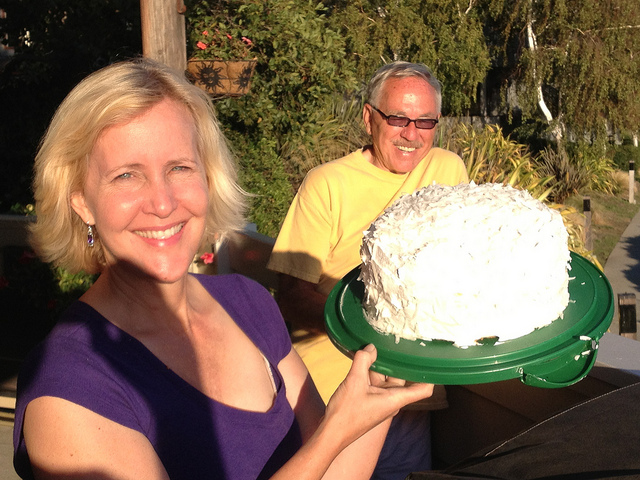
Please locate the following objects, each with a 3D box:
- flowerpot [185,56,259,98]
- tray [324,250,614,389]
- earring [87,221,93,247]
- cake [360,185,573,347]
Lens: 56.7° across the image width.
[{"bbox_3d":[-0.952,-1.576,5.781,0.659,0.387,0.275,-4,24,-19],"label":"flowerpot"},{"bbox_3d":[0.630,0.324,2.468,1.244,0.320,0.778,7,25,3],"label":"tray"},{"bbox_3d":[-0.870,-0.008,2.250,0.019,0.093,0.019,1,21,-5],"label":"earring"},{"bbox_3d":[0.617,0.112,2.654,0.626,0.470,0.687,-6,11,-3],"label":"cake"}]
